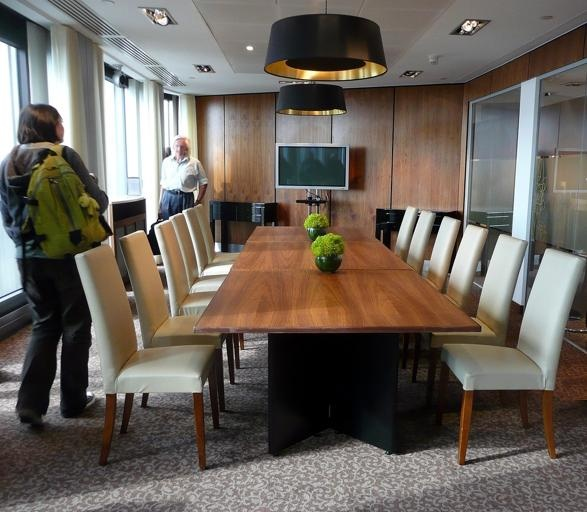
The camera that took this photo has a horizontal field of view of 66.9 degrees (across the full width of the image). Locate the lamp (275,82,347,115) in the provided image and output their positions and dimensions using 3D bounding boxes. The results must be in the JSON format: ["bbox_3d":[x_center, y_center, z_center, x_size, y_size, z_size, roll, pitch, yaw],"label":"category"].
[{"bbox_3d":[0.169,-1.450,4.151,0.428,0.171,0.443,0,4,-6],"label":"lamp"}]

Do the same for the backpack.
[{"bbox_3d":[-1.452,-0.335,2.713,0.377,0.690,0.459,-5,12,3],"label":"backpack"}]

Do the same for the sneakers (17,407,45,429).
[{"bbox_3d":[-1.541,0.945,2.599,0.090,0.128,0.182,3,-17,-11],"label":"sneakers"}]

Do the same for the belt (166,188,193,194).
[{"bbox_3d":[-1.754,-1.002,6.795,0.422,0.086,0.151,-1,9,-11],"label":"belt"}]

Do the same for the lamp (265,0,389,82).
[{"bbox_3d":[0.172,-1.145,2.386,0.647,0.342,0.675,2,9,10],"label":"lamp"}]
